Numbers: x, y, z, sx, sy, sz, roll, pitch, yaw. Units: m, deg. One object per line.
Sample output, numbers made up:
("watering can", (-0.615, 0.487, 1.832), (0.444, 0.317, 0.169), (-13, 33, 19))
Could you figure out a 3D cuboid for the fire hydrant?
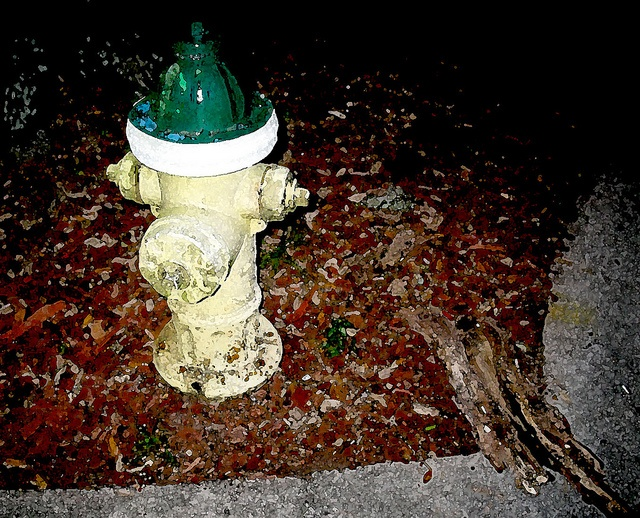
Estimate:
("fire hydrant", (-0.356, -0.085, 2.411), (0.587, 1.061, 0.735), (-16, 60, -16))
